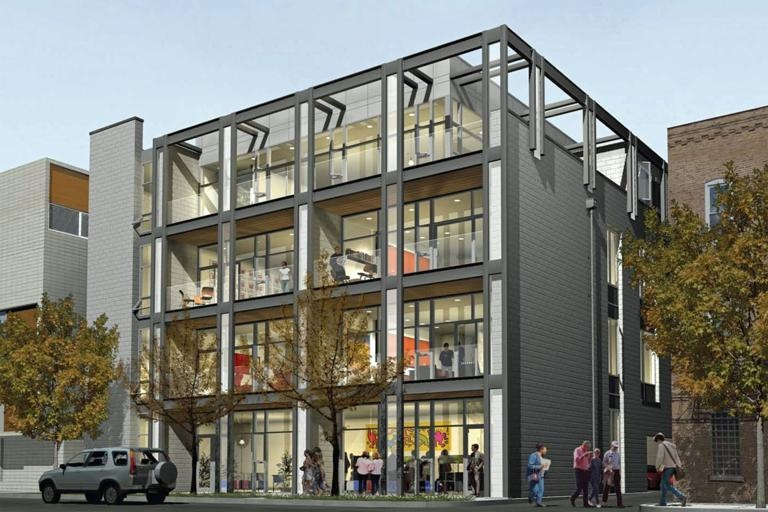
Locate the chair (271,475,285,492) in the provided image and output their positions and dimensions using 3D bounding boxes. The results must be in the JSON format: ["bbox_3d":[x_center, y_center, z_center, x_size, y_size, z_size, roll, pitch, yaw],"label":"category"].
[{"bbox_3d":[-5.269,11.307,62.544,0.711,1.043,0.701,-3,-8,31],"label":"chair"}]

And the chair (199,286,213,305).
[{"bbox_3d":[-9.227,2.065,65.281,0.747,0.949,0.799,1,-12,-2],"label":"chair"}]

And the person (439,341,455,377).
[{"bbox_3d":[2.905,4.904,57.616,0.747,1.447,0.176,-15,-21,35],"label":"person"}]

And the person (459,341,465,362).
[{"bbox_3d":[3.588,4.515,57.391,0.331,0.780,0.079,-13,-20,30],"label":"person"}]

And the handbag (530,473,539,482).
[{"bbox_3d":[6.263,9.125,51.788,0.344,0.408,0.212,2,4,24],"label":"handbag"}]

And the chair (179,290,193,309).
[{"bbox_3d":[-10.363,2.301,65.625,0.669,1.074,0.799,-13,-14,42],"label":"chair"}]

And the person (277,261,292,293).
[{"bbox_3d":[-4.935,1.124,62.815,0.615,1.618,0.757,1,-18,-8],"label":"person"}]
